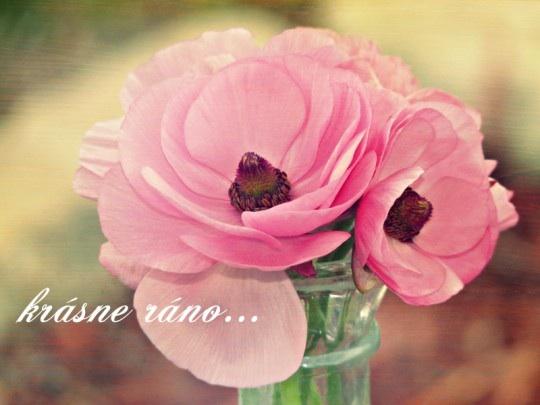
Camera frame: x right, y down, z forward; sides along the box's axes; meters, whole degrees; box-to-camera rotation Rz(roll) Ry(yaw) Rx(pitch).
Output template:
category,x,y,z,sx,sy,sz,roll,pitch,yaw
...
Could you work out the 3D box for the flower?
category,x,y,z,sx,sy,sz,roll,pitch,yaw
flower,-0.052,-0.016,0.577,0.259,0.431,0.321,-23,88,-11
